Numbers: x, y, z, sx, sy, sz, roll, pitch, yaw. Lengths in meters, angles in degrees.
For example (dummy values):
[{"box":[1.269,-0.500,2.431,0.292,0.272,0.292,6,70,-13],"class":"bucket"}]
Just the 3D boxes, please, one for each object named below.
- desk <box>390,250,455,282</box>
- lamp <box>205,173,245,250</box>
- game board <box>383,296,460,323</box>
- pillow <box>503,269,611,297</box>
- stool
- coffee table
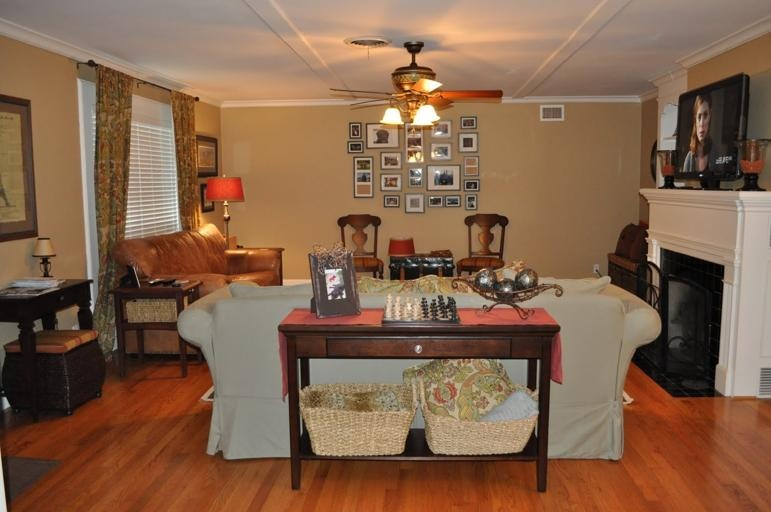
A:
[{"box":[0.496,0.140,7.934,1.032,0.342,0.701,1,5,6],"class":"desk"},{"box":[-2.310,-0.568,8.023,0.562,1.152,0.498,3,10,-5],"class":"lamp"},{"box":[0.236,0.340,3.736,0.531,0.165,0.431,3,3,1],"class":"game board"},{"box":[1.421,0.211,4.530,0.849,0.168,0.620,2,4,11],"class":"pillow"},{"box":[-2.993,0.993,5.104,0.748,0.722,0.722,1,2,-13],"class":"stool"},{"box":[-2.206,0.732,5.913,0.822,1.030,0.952,2,5,1],"class":"coffee table"}]
